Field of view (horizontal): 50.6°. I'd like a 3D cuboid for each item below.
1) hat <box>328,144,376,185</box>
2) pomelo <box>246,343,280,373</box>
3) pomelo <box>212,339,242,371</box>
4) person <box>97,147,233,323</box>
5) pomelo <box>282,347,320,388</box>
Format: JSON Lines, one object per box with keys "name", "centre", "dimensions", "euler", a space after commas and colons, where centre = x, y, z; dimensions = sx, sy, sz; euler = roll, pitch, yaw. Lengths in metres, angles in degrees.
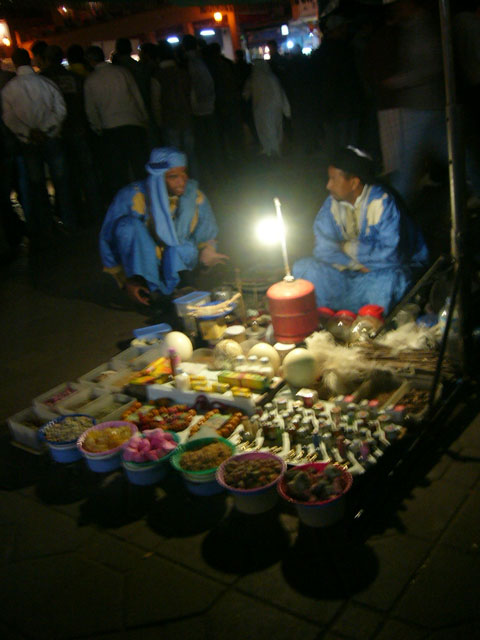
{"name": "hat", "centre": [0.862, -1.245, 4.086], "dimensions": [0.315, 0.284, 0.356], "euler": [-3, 26, -4]}
{"name": "pomelo", "centre": [0.185, 0.245, 3.539], "dimensions": [0.220, 0.225, 0.206], "euler": [10, 7, 26]}
{"name": "pomelo", "centre": [-0.066, 0.249, 3.597], "dimensions": [0.178, 0.186, 0.273], "euler": [-22, 22, -34]}
{"name": "person", "centre": [-0.876, -0.856, 5.404], "dimensions": [1.161, 1.812, 1.125], "euler": [-27, 34, -27]}
{"name": "pomelo", "centre": [0.409, 0.324, 3.404], "dimensions": [0.279, 0.274, 0.266], "euler": [-11, 8, -37]}
